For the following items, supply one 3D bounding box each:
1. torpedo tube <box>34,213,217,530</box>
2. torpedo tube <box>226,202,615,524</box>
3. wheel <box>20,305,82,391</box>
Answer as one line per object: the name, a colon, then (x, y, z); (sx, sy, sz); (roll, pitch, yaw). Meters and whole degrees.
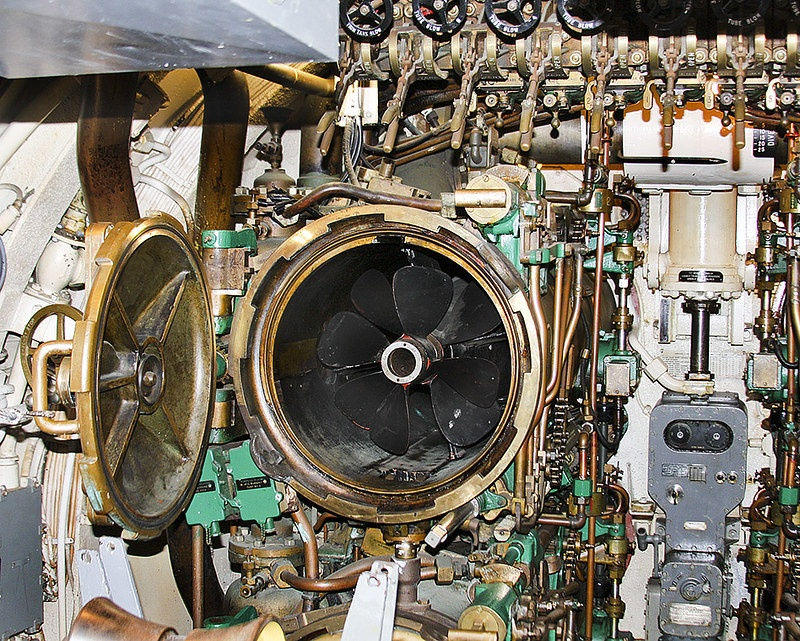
torpedo tube: (-1.728, 0.284, 5.942); (0.465, 1.489, 1.593); (3, -39, 5)
torpedo tube: (0.099, 0.227, 7.058); (1.995, 2.564, 1.574); (2, 12, 15)
wheel: (-2.094, 0.198, 5.686); (0.468, 0.594, 0.496); (0, 4, 0)
